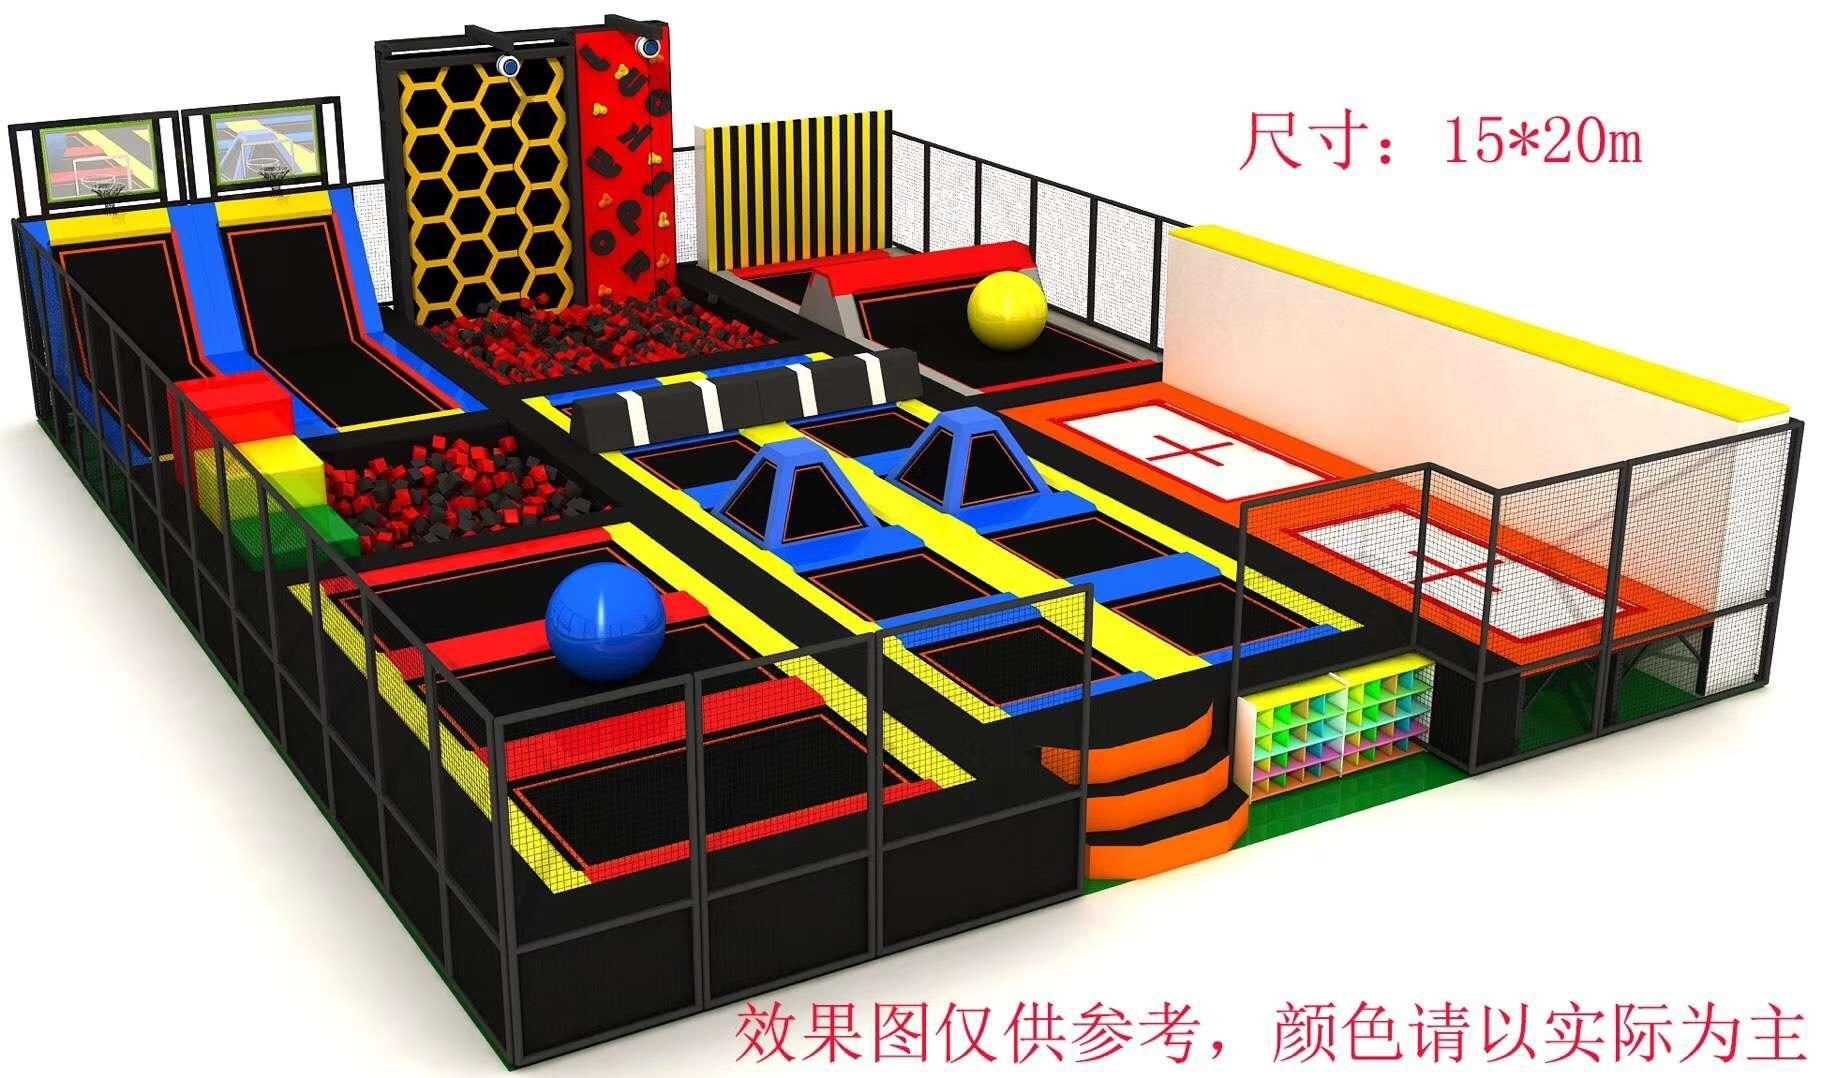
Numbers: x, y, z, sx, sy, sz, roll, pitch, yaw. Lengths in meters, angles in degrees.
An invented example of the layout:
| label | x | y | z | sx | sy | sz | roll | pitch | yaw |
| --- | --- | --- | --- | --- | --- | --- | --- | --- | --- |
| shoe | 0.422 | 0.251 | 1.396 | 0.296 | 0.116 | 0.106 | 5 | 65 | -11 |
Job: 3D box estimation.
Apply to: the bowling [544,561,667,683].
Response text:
| label | x | y | z | sx | sy | sz | roll | pitch | yaw |
| --- | --- | --- | --- | --- | --- | --- | --- | --- | --- |
| bowling | -2.414 | 0.726 | 12.140 | 1.074 | 0.869 | 0.976 | -1 | 20 | -11 |
